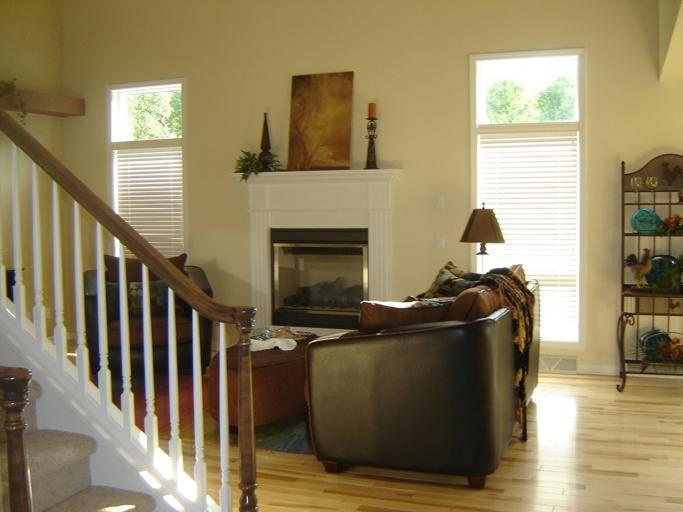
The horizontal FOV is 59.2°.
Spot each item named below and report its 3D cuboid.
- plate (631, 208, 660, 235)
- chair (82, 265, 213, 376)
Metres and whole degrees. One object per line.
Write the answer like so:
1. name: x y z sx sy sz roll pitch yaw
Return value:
1. plate: 2.873 -0.316 5.681 0.229 0.247 0.179 -1 -7 37
2. chair: -1.984 0.660 6.225 1.241 1.081 1.253 0 -5 -13
